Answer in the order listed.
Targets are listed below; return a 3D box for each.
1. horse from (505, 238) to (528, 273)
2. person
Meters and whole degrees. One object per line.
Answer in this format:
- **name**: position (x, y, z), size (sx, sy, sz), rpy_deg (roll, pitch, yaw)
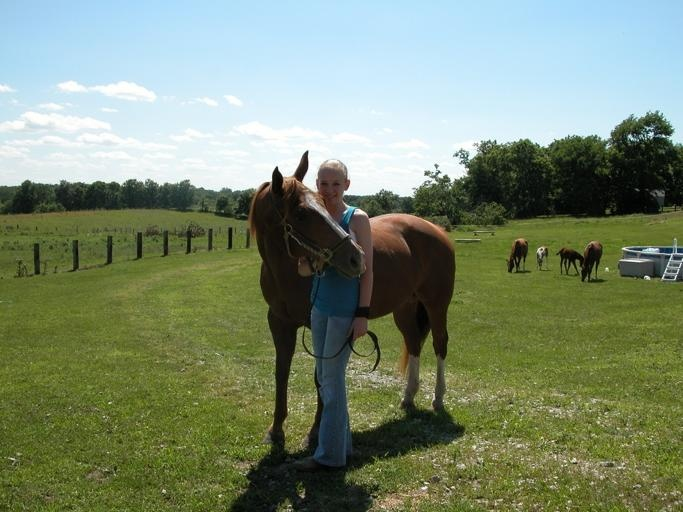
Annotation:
- **horse**: position (9.066, -0.083, 29.097), size (0.712, 1.696, 2.879), rpy_deg (5, 16, 32)
- **person**: position (-0.076, 0.786, 7.467), size (0.915, 4.068, 0.631), rpy_deg (1, 8, 3)
